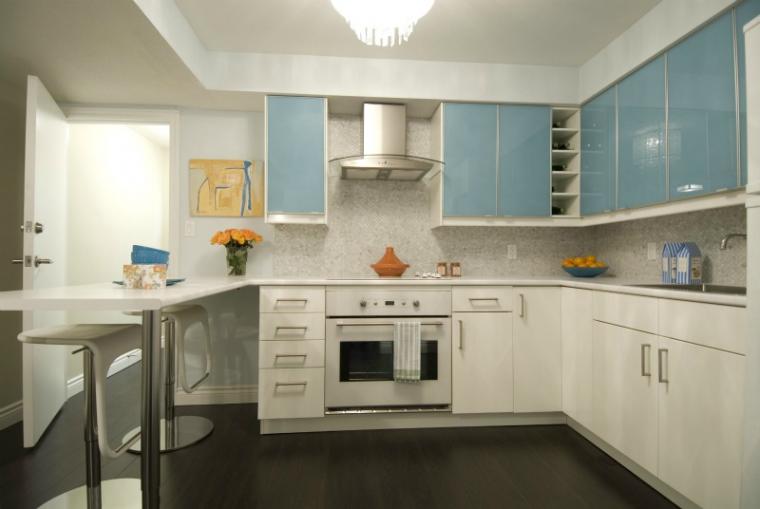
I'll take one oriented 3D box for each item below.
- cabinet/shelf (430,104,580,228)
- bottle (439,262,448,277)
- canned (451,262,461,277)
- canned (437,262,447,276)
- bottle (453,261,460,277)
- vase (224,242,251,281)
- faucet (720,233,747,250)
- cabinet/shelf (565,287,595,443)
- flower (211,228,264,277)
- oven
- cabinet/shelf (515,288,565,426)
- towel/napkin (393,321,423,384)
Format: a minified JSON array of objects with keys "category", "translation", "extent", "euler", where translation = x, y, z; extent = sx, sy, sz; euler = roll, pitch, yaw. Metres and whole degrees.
[{"category":"cabinet/shelf","translation":[1.075,-0.790,5.068],"extent":[1.040,0.793,0.348],"euler":[0,-1,-5]},{"category":"bottle","translation":[0.557,0.126,5.191],"extent":[0.103,0.144,0.105],"euler":[2,-2,0]},{"category":"canned","translation":[0.676,0.122,5.219],"extent":[0.110,0.158,0.108],"euler":[1,-5,-3]},{"category":"canned","translation":[0.568,0.124,5.231],"extent":[0.089,0.121,0.201],"euler":[0,3,14]},{"category":"bottle","translation":[0.677,0.124,5.209],"extent":[0.103,0.147,0.097],"euler":[0,-6,0]},{"category":"vase","translation":[-1.264,0.023,5.047],"extent":[0.219,0.329,0.204],"euler":[1,-1,-30]},{"category":"faucet","translation":[2.462,-0.087,4.011],"extent":[0.126,0.133,0.438],"euler":[1,4,34]},{"category":"cabinet/shelf","translation":[1.539,0.783,4.499],"extent":[0.105,1.042,0.420],"euler":[-2,3,-13]},{"category":"flower","translation":[-1.215,-0.024,5.056],"extent":[0.410,0.402,0.419],"euler":[0,2,7]},{"category":"oven","translation":[0.094,0.752,4.894],"extent":[1.039,1.002,0.743],"euler":[0,0,6]},{"category":"cabinet/shelf","translation":[1.274,0.761,4.657],"extent":[0.386,0.985,0.155],"euler":[-1,3,7]},{"category":"towel/napkin","translation":[0.215,0.757,4.582],"extent":[0.218,0.474,0.110],"euler":[-1,3,4]}]
